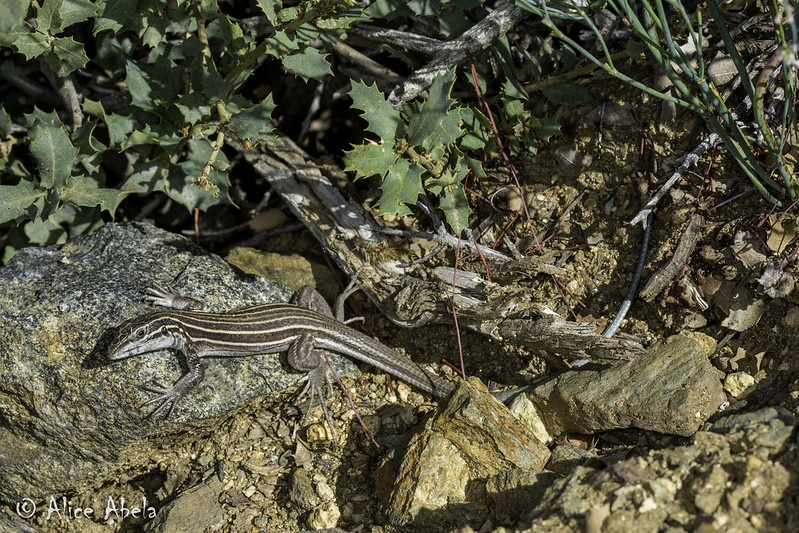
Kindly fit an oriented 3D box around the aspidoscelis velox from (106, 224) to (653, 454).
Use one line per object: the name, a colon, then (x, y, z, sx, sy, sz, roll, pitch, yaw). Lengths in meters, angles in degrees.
aspidoscelis velox: (-0.943, 0.660, 6.560, 2.622, 1.710, 1.167, -19, 30, 11)
